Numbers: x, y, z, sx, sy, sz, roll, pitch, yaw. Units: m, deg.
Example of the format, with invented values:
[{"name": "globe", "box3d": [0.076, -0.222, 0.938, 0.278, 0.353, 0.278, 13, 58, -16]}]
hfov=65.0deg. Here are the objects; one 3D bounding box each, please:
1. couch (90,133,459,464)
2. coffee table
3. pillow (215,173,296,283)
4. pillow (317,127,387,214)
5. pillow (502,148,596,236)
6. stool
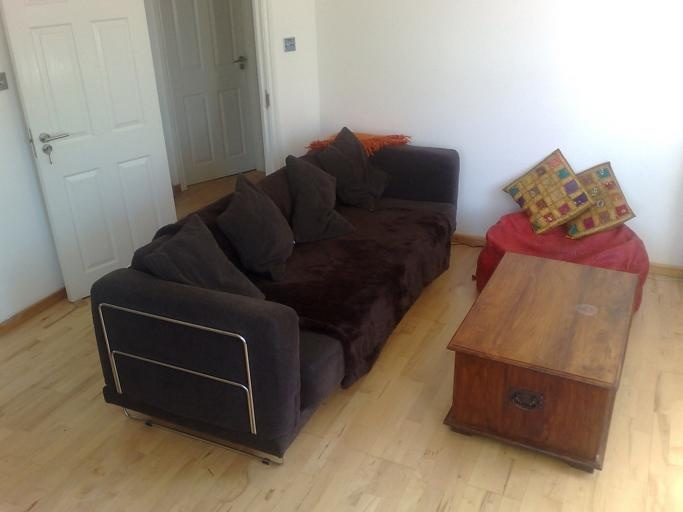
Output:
[{"name": "couch", "box3d": [-0.229, 0.142, 3.256, 1.083, 1.030, 2.238, 12, 33, 32]}, {"name": "coffee table", "box3d": [1.165, 0.511, 3.027, 0.828, 0.549, 1.116, 11, 33, 30]}, {"name": "pillow", "box3d": [-0.501, -0.155, 3.193, 0.164, 0.553, 0.552, -22, 23, 22]}, {"name": "pillow", "box3d": [-0.014, -0.731, 4.192, 0.164, 0.629, 0.675, -18, 56, -27]}, {"name": "pillow", "box3d": [1.583, -0.434, 4.087, 0.501, 0.154, 0.533, -33, 54, 20]}, {"name": "stool", "box3d": [1.615, -0.061, 3.802, 0.781, 0.340, 0.774, -27, 38, -32]}]
